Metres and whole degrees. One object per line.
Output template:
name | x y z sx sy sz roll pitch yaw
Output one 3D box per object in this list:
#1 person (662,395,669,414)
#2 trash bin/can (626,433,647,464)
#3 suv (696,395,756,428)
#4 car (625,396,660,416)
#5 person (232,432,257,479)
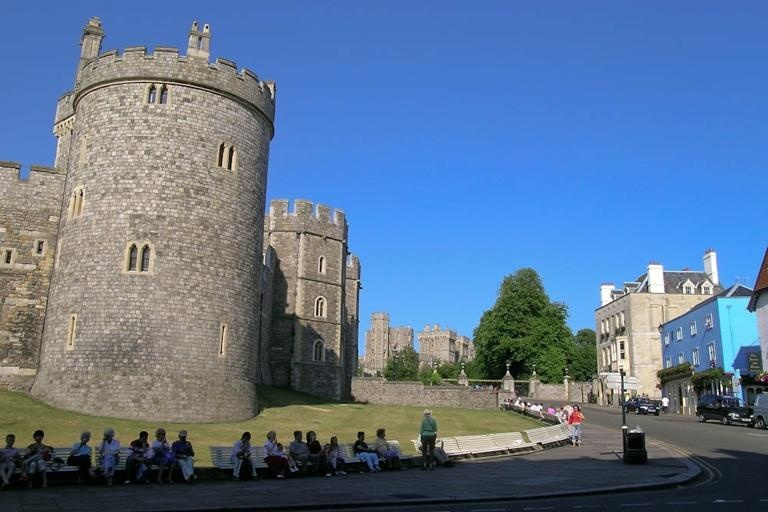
person | 24.261 12.941 55.085 0.431 1.208 1.267 -6 -16 17
trash bin/can | 9.956 7.623 25.320 0.828 1.236 0.473 -4 -16 12
suv | 22.708 10.291 42.479 1.657 2.009 4.230 2 -15 -11
car | 20.956 12.178 52.215 1.839 1.172 3.688 3 -10 -12
person | -4.876 6.985 22.288 0.871 1.557 0.739 3 -16 -12
